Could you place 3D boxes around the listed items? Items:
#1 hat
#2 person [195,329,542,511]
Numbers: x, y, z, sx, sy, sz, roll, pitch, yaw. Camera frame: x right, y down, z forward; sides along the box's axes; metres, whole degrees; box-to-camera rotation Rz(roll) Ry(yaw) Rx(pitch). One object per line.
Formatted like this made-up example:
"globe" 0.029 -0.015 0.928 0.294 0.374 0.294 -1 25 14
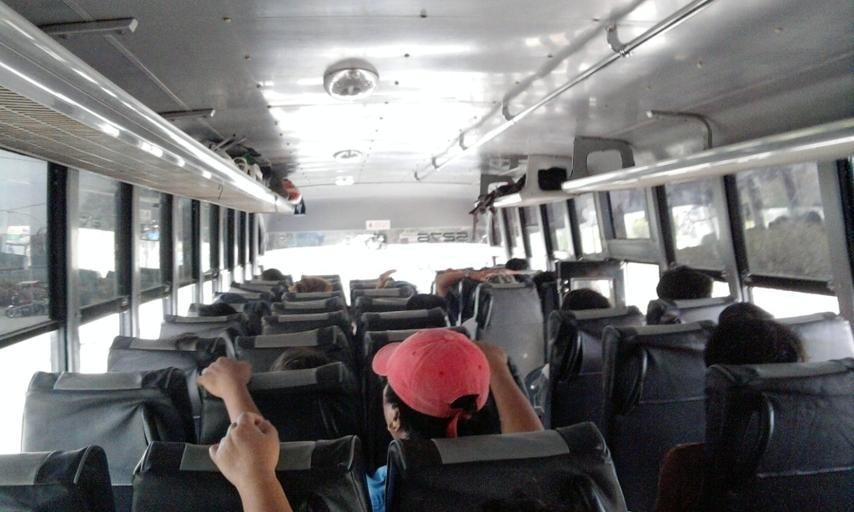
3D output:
"hat" 0.004 0.568 2.961 0.394 0.247 0.516 -9 32 -39
"person" -0.318 0.688 3.305 1.402 0.772 1.245 -2 -16 -8
